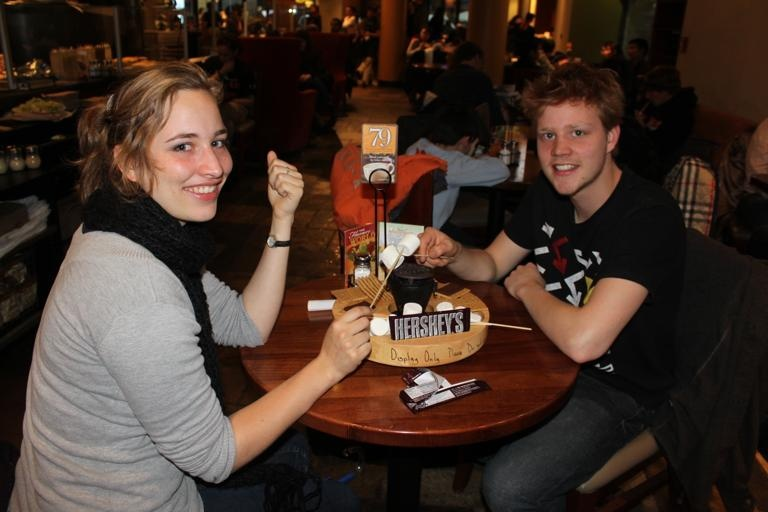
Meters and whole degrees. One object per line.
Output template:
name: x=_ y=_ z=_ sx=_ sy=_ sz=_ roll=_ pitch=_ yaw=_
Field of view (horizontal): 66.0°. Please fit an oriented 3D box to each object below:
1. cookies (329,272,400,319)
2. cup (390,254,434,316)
cookies: x=-0.082 y=0.137 z=2.280 sx=0.158 sy=0.062 sz=0.197 roll=-1 pitch=21 yaw=7
cup: x=0.103 y=0.108 z=2.160 sx=0.192 sy=0.174 sz=0.165 roll=-1 pitch=16 yaw=-1
